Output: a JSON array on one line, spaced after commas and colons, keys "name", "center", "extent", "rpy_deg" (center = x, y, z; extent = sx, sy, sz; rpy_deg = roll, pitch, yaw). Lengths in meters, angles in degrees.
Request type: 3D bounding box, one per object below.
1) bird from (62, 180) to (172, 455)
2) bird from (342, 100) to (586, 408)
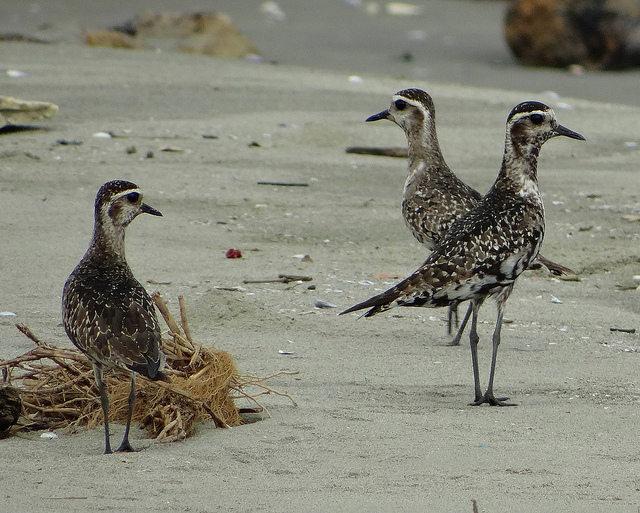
[{"name": "bird", "center": [-1.197, 0.321, 6.950], "extent": [0.596, 1.540, 0.971], "rpy_deg": [1, 7, -12]}, {"name": "bird", "center": [1.042, -0.055, 7.618], "extent": [0.703, 1.933, 1.206], "rpy_deg": [7, 8, 34]}]
